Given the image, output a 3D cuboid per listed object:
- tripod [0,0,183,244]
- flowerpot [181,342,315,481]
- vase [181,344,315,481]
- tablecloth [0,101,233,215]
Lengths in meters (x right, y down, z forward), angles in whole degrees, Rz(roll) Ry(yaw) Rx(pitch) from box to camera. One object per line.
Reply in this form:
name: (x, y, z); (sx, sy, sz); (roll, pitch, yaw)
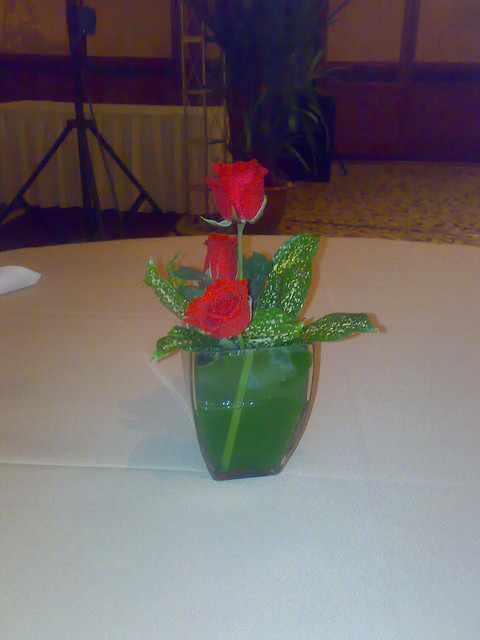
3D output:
tripod: (-0.773, -0.908, 2.415); (0.796, 1.077, 0.744); (9, 17, 26)
flowerpot: (0.006, 0.040, 0.362); (0.090, 0.132, 0.087); (-4, 5, -24)
vase: (0.011, 0.042, 0.362); (0.081, 0.132, 0.097); (-2, 7, 5)
tablecloth: (-0.655, -0.823, 2.379); (0.794, 0.484, 0.873); (8, 17, 26)
